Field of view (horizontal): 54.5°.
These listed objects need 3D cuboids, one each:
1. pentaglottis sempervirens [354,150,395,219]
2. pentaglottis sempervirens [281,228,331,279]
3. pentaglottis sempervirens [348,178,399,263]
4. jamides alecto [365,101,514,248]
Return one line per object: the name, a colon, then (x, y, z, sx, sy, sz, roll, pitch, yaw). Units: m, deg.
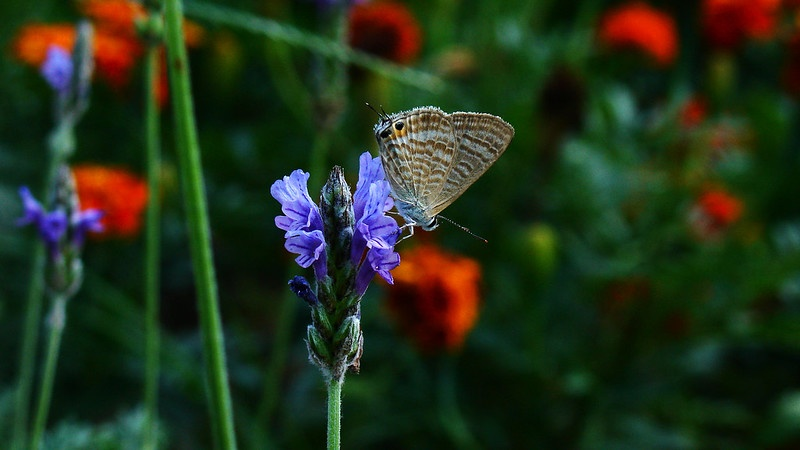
pentaglottis sempervirens: (-0.071, -0.105, 1.926, 0.097, 0.130, 0.152, -5, -76, -27)
pentaglottis sempervirens: (-0.226, 0.063, 1.865, 0.096, 0.098, 0.072, 0, -35, -8)
pentaglottis sempervirens: (-0.062, -0.017, 1.875, 0.082, 0.218, 0.134, 3, 3, 2)
jamides alecto: (0.113, -0.142, 2.118, 0.392, 0.353, 0.278, 1, -35, -10)
